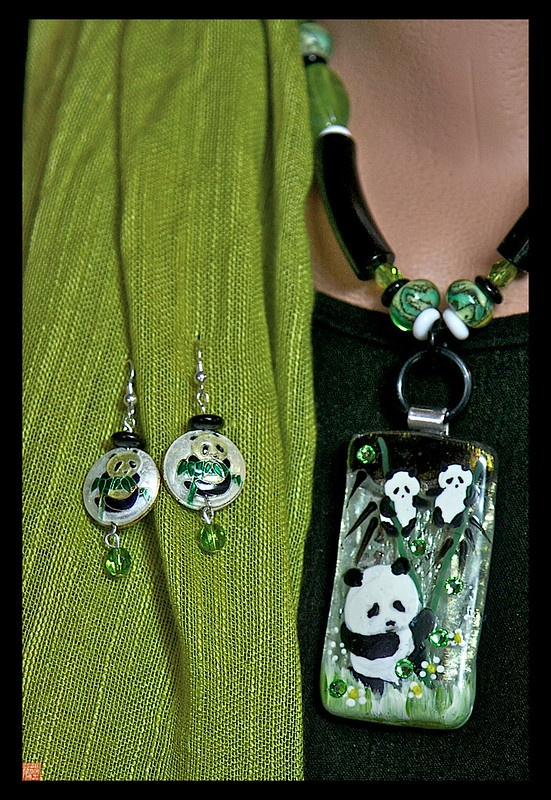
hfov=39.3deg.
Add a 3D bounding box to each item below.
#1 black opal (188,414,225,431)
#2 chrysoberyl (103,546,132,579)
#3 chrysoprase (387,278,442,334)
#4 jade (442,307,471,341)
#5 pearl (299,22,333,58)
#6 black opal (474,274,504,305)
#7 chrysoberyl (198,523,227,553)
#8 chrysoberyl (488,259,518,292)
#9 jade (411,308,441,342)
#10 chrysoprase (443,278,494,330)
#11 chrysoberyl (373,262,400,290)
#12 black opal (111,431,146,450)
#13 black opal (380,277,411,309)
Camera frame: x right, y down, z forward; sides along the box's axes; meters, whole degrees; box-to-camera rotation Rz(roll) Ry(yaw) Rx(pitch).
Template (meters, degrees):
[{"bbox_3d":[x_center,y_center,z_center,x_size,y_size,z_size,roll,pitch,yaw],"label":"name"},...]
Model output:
[{"bbox_3d":[-0.053,0.017,0.604,0.016,0.008,0.016,7,-10,-41],"label":"black opal"},{"bbox_3d":[-0.121,0.125,0.592,0.021,0.025,0.020,-7,46,-6],"label":"chrysoberyl"},{"bbox_3d":[0.116,-0.078,0.645,0.038,0.053,0.042,6,7,-7],"label":"chrysoprase"},{"bbox_3d":[0.145,-0.062,0.619,0.029,0.014,0.013,50,36,4],"label":"jade"},{"bbox_3d":[0.036,-0.324,0.691,0.024,0.026,0.020,5,62,0],"label":"pearl"},{"bbox_3d":[0.175,-0.092,0.628,0.008,0.023,0.022,-39,22,9],"label":"black opal"},{"bbox_3d":[-0.048,0.107,0.590,0.021,0.023,0.018,-7,46,-6],"label":"chrysoberyl"},{"bbox_3d":[0.189,-0.106,0.640,0.025,0.025,0.010,46,21,31],"label":"chrysoberyl"},{"bbox_3d":[0.121,-0.063,0.619,0.007,0.022,0.023,30,79,-7],"label":"jade"},{"bbox_3d":[0.158,-0.080,0.623,0.036,0.037,0.020,43,62,13],"label":"chrysoprase"},{"bbox_3d":[0.094,-0.107,0.651,0.020,0.022,0.019,2,19,35],"label":"chrysoberyl"},{"bbox_3d":[-0.114,0.031,0.599,0.016,0.017,0.007,6,73,-2],"label":"black opal"},{"bbox_3d":[0.101,-0.092,0.656,0.007,0.023,0.023,35,42,12],"label":"black opal"}]
